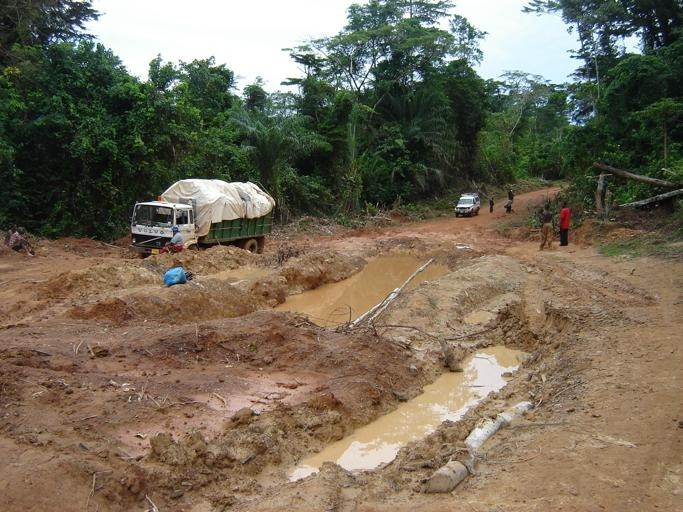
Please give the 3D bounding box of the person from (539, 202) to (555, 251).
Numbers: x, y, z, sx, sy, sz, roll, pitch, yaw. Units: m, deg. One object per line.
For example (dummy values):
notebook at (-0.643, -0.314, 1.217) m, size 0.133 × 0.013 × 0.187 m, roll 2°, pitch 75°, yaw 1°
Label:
person at (7.673, -1.126, 20.905) m, size 0.429 × 1.721 × 1.166 m, roll 2°, pitch 8°, yaw 19°

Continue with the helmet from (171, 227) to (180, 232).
helmet at (-5.273, -0.874, 17.827) m, size 0.202 × 0.148 × 0.131 m, roll -2°, pitch 10°, yaw -7°

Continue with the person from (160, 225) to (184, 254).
person at (-5.342, -0.572, 17.820) m, size 0.739 × 0.848 × 0.532 m, roll -3°, pitch 8°, yaw -24°

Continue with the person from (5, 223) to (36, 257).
person at (-11.084, -0.471, 19.379) m, size 1.433 × 0.786 × 0.791 m, roll 3°, pitch 8°, yaw 29°

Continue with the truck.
truck at (-4.939, -1.016, 20.038) m, size 2.233 × 1.577 × 4.853 m, roll 4°, pitch 5°, yaw 33°

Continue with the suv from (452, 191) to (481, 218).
suv at (8.171, -3.315, 36.310) m, size 1.276 × 1.133 × 2.413 m, roll 1°, pitch 4°, yaw 24°
